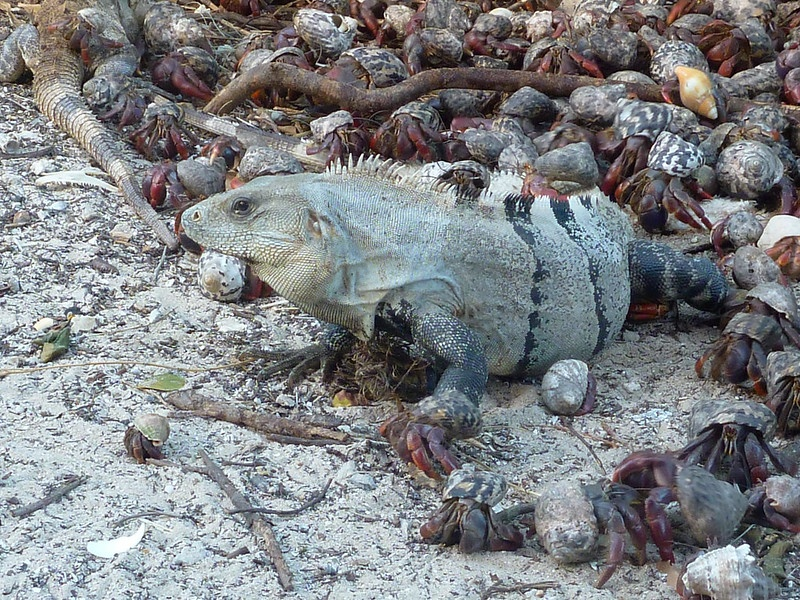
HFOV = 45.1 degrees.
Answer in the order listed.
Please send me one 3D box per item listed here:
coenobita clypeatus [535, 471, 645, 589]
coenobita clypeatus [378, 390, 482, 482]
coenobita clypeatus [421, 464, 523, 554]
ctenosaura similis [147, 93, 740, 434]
[{"bbox_3d":[0.807,0.952,4.299,0.501,0.409,0.760,-2,20,-1],"label":"coenobita clypeatus"},{"bbox_3d":[0.154,0.598,4.540,0.416,0.226,0.413,-32,39,-20],"label":"coenobita clypeatus"},{"bbox_3d":[0.342,0.948,4.274,0.445,0.254,0.318,14,43,10],"label":"coenobita clypeatus"},{"bbox_3d":[0.230,-0.032,4.956,2.330,1.066,1.105,-7,44,-13],"label":"ctenosaura similis"}]
